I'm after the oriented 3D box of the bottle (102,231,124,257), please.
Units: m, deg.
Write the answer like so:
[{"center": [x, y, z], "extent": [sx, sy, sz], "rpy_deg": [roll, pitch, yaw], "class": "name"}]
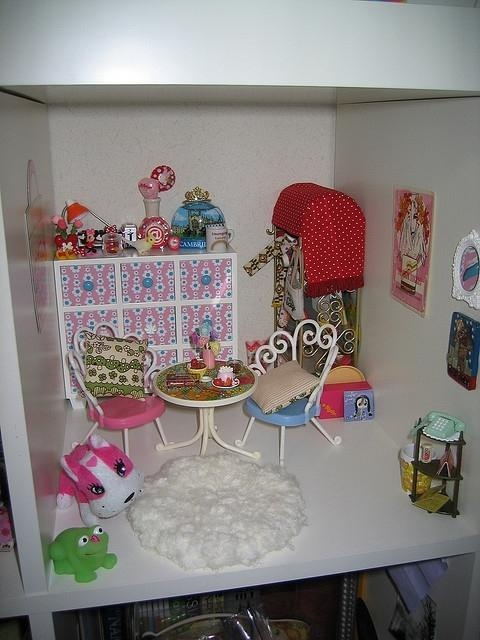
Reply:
[{"center": [-1.068, -0.645, 4.154], "extent": [0.178, 0.176, 0.178], "rpy_deg": [-8, 21, -25], "class": "bottle"}]
